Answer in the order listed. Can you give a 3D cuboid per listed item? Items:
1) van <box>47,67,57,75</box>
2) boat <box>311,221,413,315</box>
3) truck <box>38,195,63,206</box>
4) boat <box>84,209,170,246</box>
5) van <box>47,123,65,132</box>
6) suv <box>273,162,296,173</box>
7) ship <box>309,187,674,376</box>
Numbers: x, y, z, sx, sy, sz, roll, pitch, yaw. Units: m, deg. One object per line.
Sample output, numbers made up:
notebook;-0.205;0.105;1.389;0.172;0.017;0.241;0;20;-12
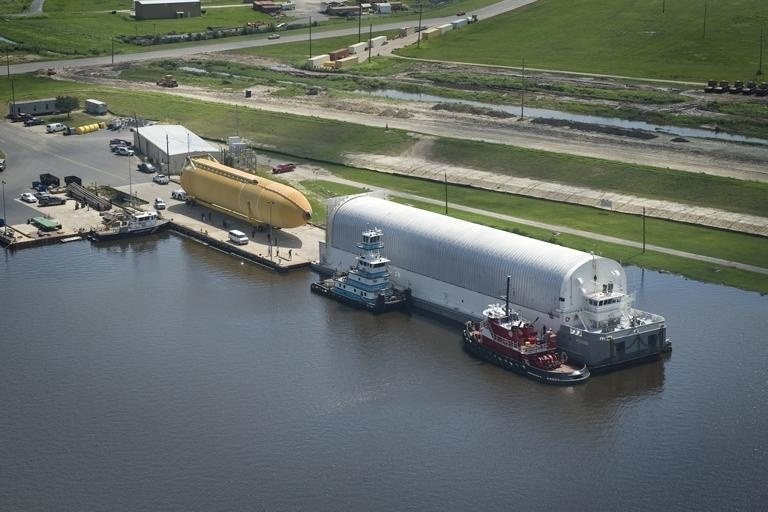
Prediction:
van;-58.836;-32.891;188.848;2.290;0.670;2.297;-1;18;-10
boat;-1.408;1.501;108.918;12.107;8.233;7.495;-3;-1;-32
truck;-39.861;-6.717;127.521;3.054;0.716;1.273;-5;22;-17
boat;-28.769;-3.322;120.436;8.375;2.722;1.769;-10;24;-29
van;-48.459;-18.964;156.851;2.821;0.962;1.466;-15;29;-25
suv;-13.019;-11.478;139.041;3.081;0.647;1.455;-8;14;-35
ship;9.514;1.330;104.395;40.578;7.644;12.681;15;29;33
